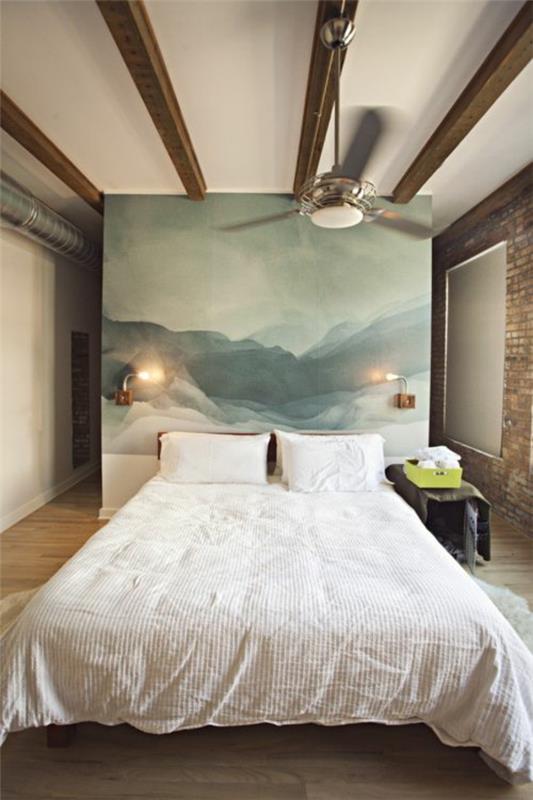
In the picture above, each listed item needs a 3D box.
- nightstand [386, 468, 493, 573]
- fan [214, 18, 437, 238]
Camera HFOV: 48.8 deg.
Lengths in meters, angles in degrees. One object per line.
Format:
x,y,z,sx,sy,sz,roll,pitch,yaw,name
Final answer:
1.070,0.726,3.646,0.436,0.502,0.657,-1,-2,5,nightstand
0.195,-1.082,2.289,0.640,0.657,0.681,5,11,23,fan
